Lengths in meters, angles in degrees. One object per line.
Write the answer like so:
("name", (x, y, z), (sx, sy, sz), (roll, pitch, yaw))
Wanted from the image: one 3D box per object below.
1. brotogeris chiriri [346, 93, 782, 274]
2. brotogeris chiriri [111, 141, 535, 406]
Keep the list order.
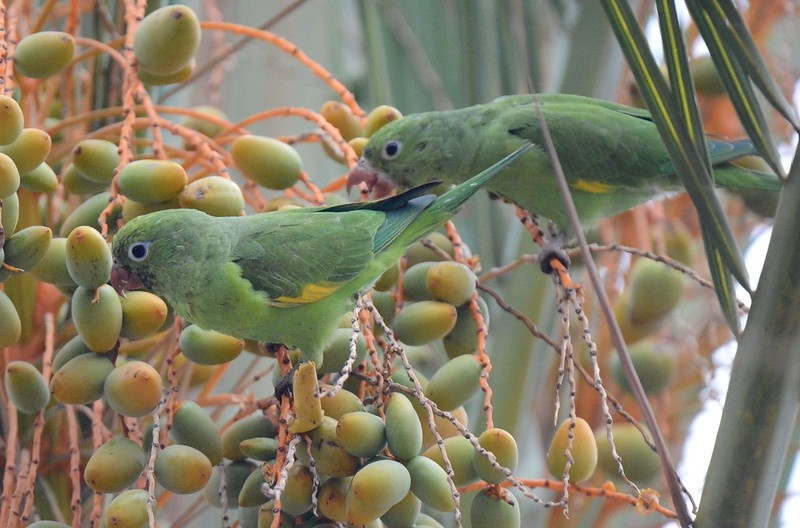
("brotogeris chiriri", (0.355, -0.158, 2.367), (0.901, 0.379, 0.230), (-8, -1, -12))
("brotogeris chiriri", (-0.147, 0.015, 2.093), (0.700, 0.321, 0.198), (-24, 9, -6))
